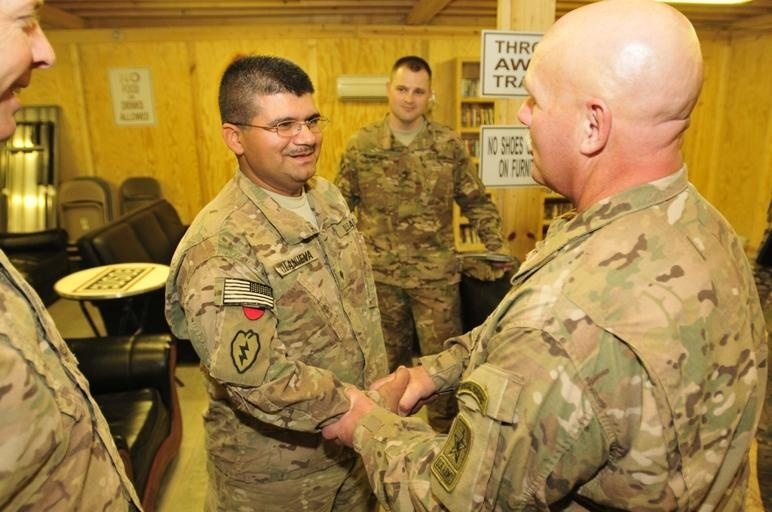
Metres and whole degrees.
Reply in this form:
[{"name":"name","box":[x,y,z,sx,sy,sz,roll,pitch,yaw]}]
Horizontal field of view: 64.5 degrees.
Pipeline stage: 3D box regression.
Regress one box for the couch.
[{"name":"couch","box":[-1.712,0.192,4.180,0.553,0.608,1.302,3,21,-12]}]

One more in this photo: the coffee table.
[{"name":"coffee table","box":[-1.887,0.404,4.400,0.765,0.534,0.761,-10,18,-29]}]
